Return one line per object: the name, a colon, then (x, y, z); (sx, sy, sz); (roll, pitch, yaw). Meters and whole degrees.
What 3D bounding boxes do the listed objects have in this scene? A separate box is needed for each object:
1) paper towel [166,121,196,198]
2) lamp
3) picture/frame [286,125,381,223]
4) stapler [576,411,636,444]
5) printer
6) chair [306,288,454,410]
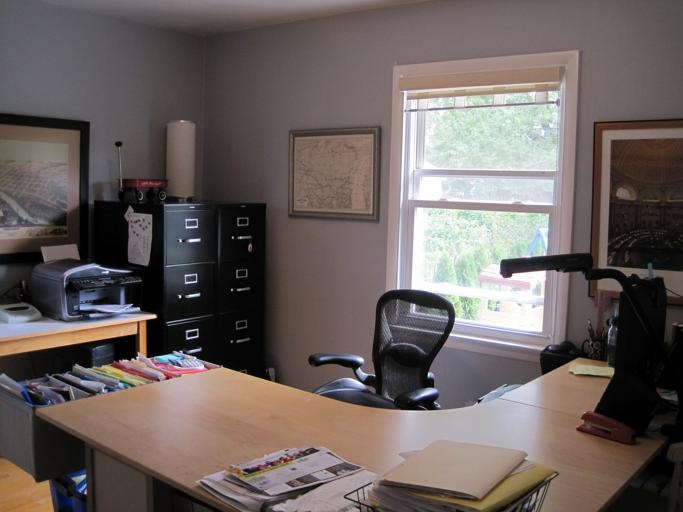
paper towel: (-1.347, -0.806, 4.452); (0.237, 0.648, 0.237); (-2, 11, -43)
lamp: (0.917, 0.317, 1.953); (0.465, 0.593, 0.377); (11, 10, 42)
picture/frame: (-0.065, -0.645, 4.104); (0.841, 0.692, 0.072); (7, 11, 32)
stapler: (1.061, 0.693, 2.116); (0.062, 0.079, 0.204); (18, -8, -43)
printer: (-1.843, 0.184, 3.656); (0.584, 0.355, 0.438); (9, 9, 34)
chair: (0.364, 0.556, 3.125); (0.647, 0.846, 0.623); (8, 9, 42)
